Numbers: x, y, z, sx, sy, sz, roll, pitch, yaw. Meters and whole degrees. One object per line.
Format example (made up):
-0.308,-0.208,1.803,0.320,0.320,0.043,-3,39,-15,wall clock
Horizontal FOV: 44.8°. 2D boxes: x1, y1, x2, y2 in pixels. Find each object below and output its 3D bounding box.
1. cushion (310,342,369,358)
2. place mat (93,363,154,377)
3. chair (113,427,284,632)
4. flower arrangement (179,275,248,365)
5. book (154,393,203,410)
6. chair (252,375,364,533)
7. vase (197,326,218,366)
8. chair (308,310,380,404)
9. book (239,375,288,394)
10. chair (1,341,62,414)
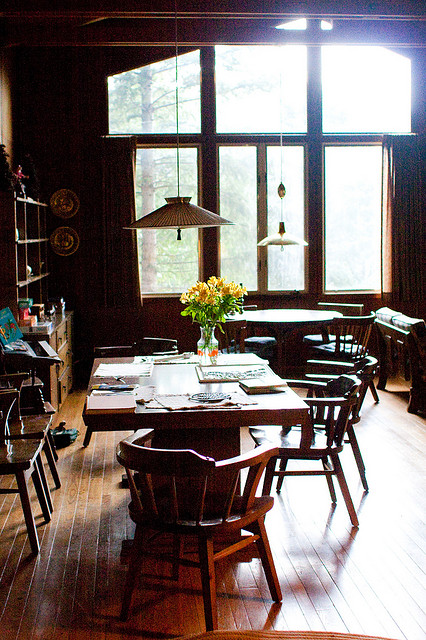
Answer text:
1.200,0.286,5.018,0.521,0.126,0.518,-1,1,17,cushion
-0.470,0.267,2.707,0.289,0.027,0.357,-1,1,-7,place mat
-0.036,0.666,1.786,0.580,0.671,0.830,-1,2,-11,chair
-0.015,0.005,2.997,0.376,0.631,0.427,0,0,-1,flower arrangement
-0.142,0.315,2.002,0.147,0.014,0.278,-2,1,-16,book
0.472,0.627,2.530,0.444,0.679,0.507,1,2,-13,chair
-0.031,0.144,2.940,0.108,0.243,0.124,1,2,16,vase
1.290,0.370,5.054,0.532,0.939,0.690,-2,7,11,chair
0.218,0.287,2.294,0.197,0.031,0.301,-1,1,-5,book
-1.130,0.345,3.166,0.340,0.574,0.523,0,1,-11,chair
